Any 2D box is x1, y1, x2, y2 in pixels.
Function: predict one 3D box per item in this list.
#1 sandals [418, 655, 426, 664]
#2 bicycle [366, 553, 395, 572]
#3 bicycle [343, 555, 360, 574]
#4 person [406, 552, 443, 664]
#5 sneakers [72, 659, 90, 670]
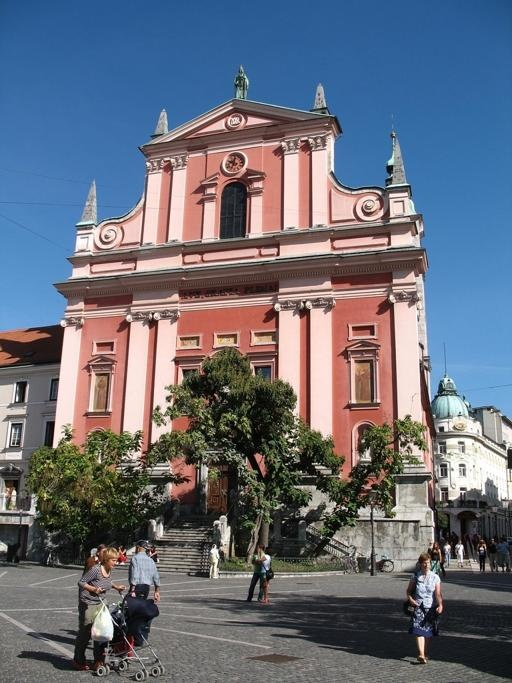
[{"bbox_3d":[1.987,3.856,7.179,0.061,0.068,0.161,-3,-46,18],"label":"sandals"},{"bbox_3d":[5.439,9.503,25.479,1.492,0.865,0.732,1,-13,-5],"label":"bicycle"},{"bbox_3d":[4.004,9.439,25.043,0.421,0.607,1.063,-27,-40,26],"label":"bicycle"},{"bbox_3d":[2.169,3.460,7.711,0.438,1.315,0.986,-2,-15,14],"label":"person"},{"bbox_3d":[-1.905,3.523,6.432,0.175,0.072,0.128,1,-14,1],"label":"sneakers"}]
